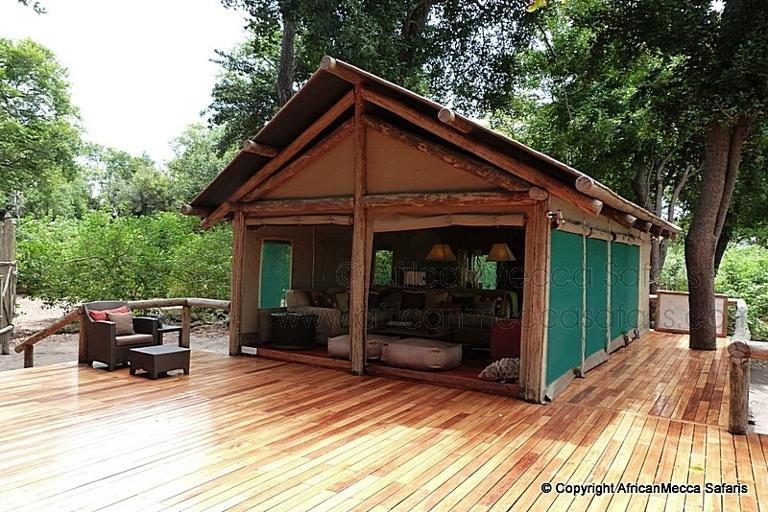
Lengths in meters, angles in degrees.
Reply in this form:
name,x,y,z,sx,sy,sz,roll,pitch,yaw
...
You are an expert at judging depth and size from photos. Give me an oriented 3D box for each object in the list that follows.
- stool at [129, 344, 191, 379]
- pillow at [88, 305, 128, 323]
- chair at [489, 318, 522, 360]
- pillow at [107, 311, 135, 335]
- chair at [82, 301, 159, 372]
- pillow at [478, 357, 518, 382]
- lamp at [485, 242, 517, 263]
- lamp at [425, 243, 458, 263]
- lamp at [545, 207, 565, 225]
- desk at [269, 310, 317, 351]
name,x,y,z,sx,sy,sz,roll,pitch,yaw
stool,-4.225,1.960,10.205,0.757,0.412,0.731,2,5,44
pillow,-5.522,1.149,10.747,0.736,0.196,0.355,-9,14,-42
chair,2.311,1.597,10.002,0.634,0.771,0.418,8,13,31
pillow,-5.269,1.341,10.622,0.168,0.434,0.477,-25,-17,35
chair,-5.396,1.606,10.878,1.280,1.090,1.202,3,2,12
pillow,2.081,2.048,9.564,0.609,0.379,0.211,-12,-24,12
lamp,2.561,-0.136,11.602,0.533,0.347,0.522,-2,-8,25
lamp,1.376,-0.056,12.526,0.593,0.370,0.590,-4,-7,35
lamp,3.008,-0.659,9.347,0.221,0.332,0.450,8,13,32
desk,-2.032,1.634,11.803,0.868,0.558,0.861,-1,-3,32
